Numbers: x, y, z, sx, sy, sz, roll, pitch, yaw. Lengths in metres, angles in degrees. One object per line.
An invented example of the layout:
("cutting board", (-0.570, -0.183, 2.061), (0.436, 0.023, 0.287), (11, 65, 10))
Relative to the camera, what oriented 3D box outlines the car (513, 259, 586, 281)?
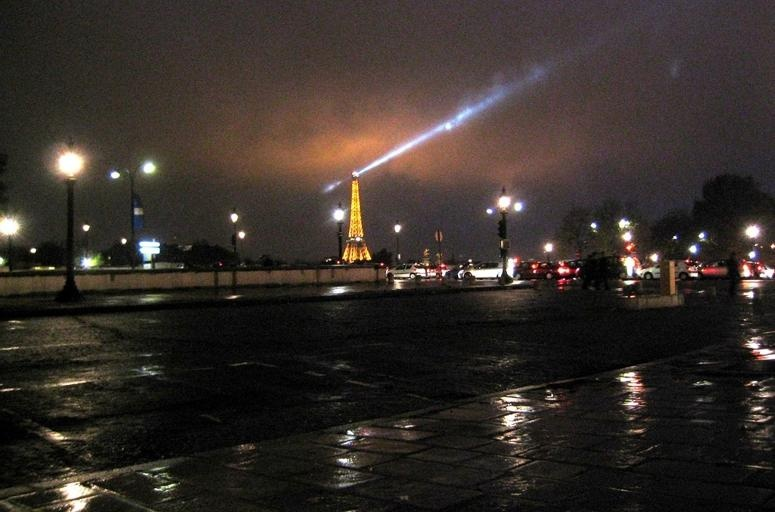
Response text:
("car", (13.622, 1.240, 57.496), (4.196, 1.186, 1.775), (1, 1, 20))
